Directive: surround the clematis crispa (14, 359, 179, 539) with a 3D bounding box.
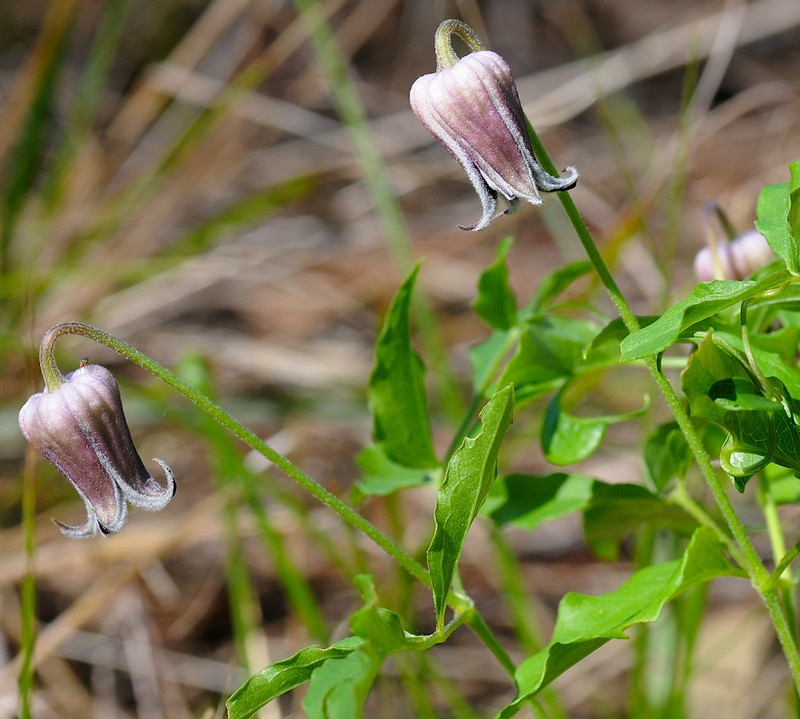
[{"bbox_3d":[-0.675,0.191,1.907,0.320,0.344,0.345,-12,7,18],"label":"clematis crispa"}]

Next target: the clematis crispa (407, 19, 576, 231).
[{"bbox_3d":[0.182,-0.523,1.837,0.260,0.447,0.287,-19,2,-44],"label":"clematis crispa"}]
